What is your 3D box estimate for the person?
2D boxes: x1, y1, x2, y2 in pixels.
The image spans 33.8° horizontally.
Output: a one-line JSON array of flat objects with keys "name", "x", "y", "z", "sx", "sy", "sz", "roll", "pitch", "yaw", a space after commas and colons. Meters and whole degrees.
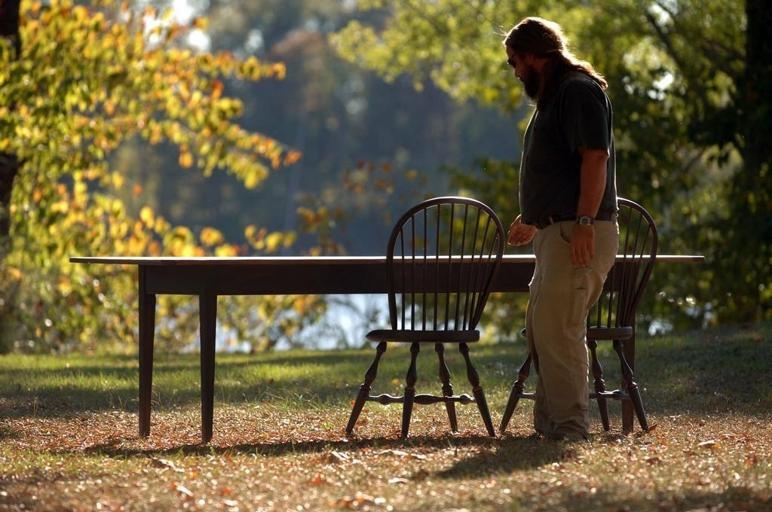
[{"name": "person", "x": 1.260, "y": -0.206, "z": 9.129, "sx": 0.767, "sy": 3.017, "sz": 0.291, "roll": 1, "pitch": 1, "yaw": 17}]

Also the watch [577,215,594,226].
[{"name": "watch", "x": 1.402, "y": -0.255, "z": 8.948, "sx": 0.080, "sy": 0.068, "sz": 0.082, "roll": 4, "pitch": 8, "yaw": 10}]

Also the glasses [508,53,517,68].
[{"name": "glasses", "x": 0.917, "y": -1.417, "z": 9.180, "sx": 0.022, "sy": 0.084, "sz": 0.074, "roll": 2, "pitch": -7, "yaw": -19}]

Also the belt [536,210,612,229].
[{"name": "belt", "x": 1.339, "y": -0.279, "z": 9.061, "sx": 0.607, "sy": 0.154, "sz": 0.214, "roll": 1, "pitch": 0, "yaw": 7}]
